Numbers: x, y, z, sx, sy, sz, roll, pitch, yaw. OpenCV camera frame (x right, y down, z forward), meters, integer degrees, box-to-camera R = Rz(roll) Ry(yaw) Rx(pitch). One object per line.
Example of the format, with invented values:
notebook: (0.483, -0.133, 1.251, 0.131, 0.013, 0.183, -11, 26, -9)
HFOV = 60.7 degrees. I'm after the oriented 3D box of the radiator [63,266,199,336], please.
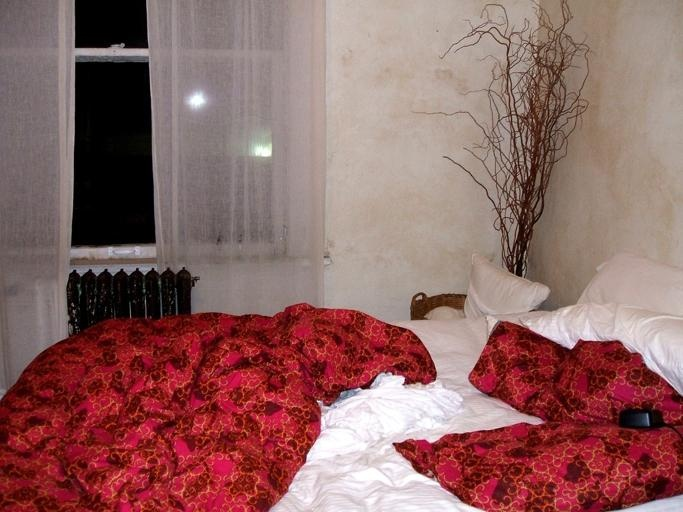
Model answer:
radiator: (-1.361, 0.259, 3.785, 0.509, 0.609, 0.179, 2, 10, -9)
